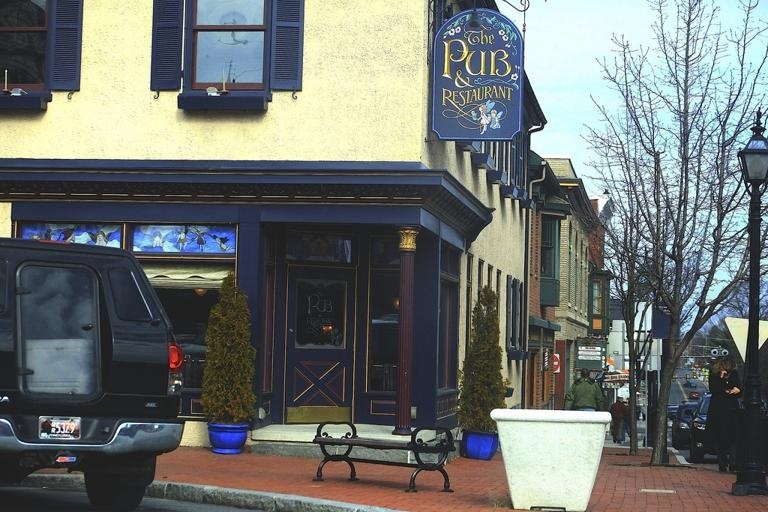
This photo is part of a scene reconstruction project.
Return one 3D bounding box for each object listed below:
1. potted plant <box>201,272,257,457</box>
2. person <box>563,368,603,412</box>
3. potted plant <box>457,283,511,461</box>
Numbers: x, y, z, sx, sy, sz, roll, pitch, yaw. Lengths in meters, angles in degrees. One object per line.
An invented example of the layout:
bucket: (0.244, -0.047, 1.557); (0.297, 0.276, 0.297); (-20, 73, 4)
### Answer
potted plant: (-2.688, 1.927, 21.754); (0.818, 3.097, 0.615); (5, -10, -23)
person: (4.539, 3.048, 28.066); (0.811, 0.912, 1.831); (-1, -9, 10)
potted plant: (1.860, 2.226, 23.435); (0.867, 3.233, 0.723); (2, -9, -5)
